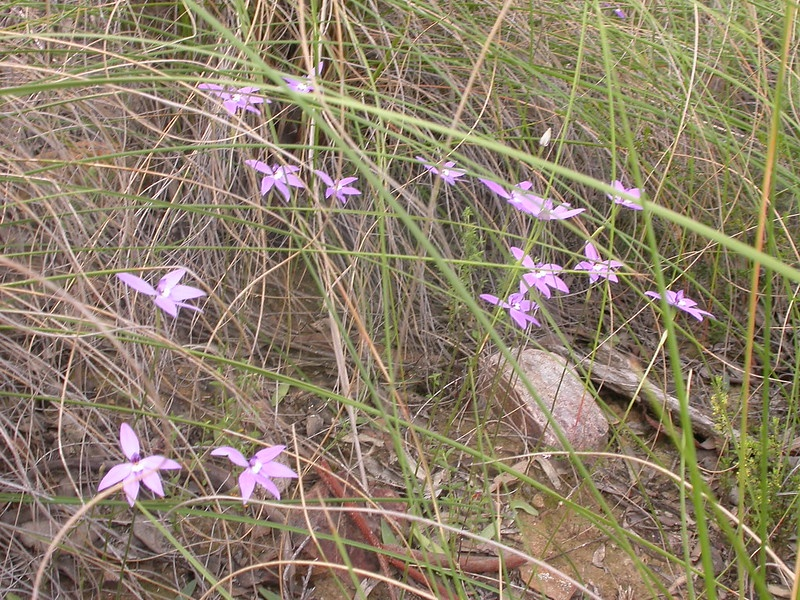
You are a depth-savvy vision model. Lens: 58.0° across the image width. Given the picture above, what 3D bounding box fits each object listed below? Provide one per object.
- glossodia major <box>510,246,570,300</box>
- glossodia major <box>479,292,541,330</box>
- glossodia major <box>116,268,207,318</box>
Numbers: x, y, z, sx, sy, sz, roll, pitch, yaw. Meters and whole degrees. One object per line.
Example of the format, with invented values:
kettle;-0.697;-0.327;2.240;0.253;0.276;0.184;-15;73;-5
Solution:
glossodia major;0.320;-0.060;1.695;0.129;0.050;0.134;-10;58;-30
glossodia major;0.267;0.041;1.698;0.116;0.041;0.107;49;28;25
glossodia major;-0.474;0.009;1.466;0.141;0.056;0.142;41;37;26
